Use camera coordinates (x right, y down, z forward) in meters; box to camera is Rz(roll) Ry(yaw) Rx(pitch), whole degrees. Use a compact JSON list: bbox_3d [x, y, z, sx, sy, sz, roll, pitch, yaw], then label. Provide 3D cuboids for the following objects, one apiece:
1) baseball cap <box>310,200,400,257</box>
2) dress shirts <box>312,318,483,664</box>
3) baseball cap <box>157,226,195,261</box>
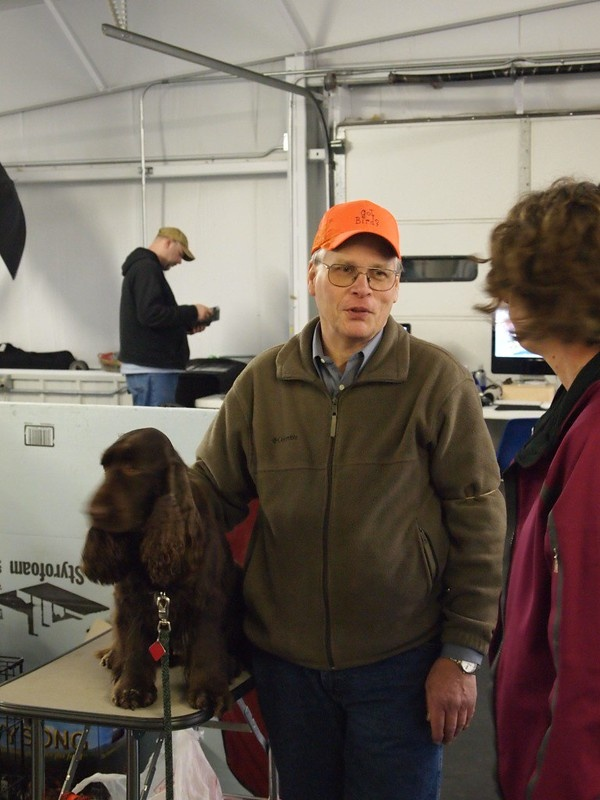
[{"bbox_3d":[0.116,-0.327,1.585,0.169,0.101,0.218,3,2,-1],"label":"baseball cap"},{"bbox_3d":[0.136,0.159,1.534,0.463,0.631,0.189,-1,-1,14],"label":"dress shirts"},{"bbox_3d":[-0.604,-0.796,4.190,0.199,0.101,0.133,27,-6,-30],"label":"baseball cap"}]
